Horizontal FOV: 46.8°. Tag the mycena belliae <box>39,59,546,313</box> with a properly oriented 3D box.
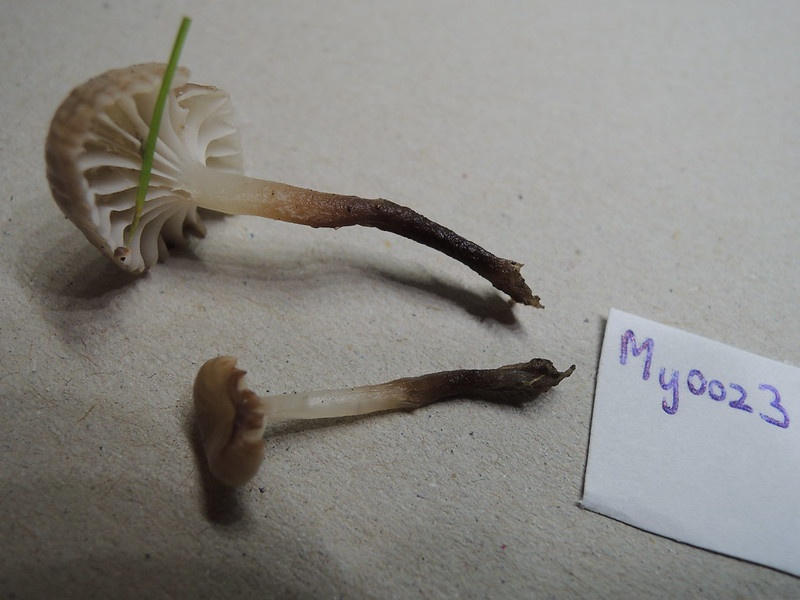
[{"bbox_3d":[-0.243,-0.216,2.146,1.156,0.503,0.624,17,38,12],"label":"mycena belliae"}]

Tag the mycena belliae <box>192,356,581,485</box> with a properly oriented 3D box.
[{"bbox_3d":[-0.103,0.227,2.144,0.989,0.263,0.336,-6,34,-12],"label":"mycena belliae"}]
